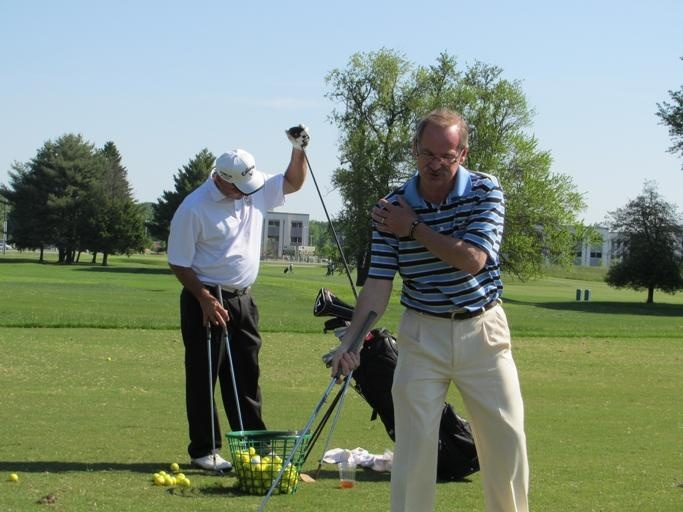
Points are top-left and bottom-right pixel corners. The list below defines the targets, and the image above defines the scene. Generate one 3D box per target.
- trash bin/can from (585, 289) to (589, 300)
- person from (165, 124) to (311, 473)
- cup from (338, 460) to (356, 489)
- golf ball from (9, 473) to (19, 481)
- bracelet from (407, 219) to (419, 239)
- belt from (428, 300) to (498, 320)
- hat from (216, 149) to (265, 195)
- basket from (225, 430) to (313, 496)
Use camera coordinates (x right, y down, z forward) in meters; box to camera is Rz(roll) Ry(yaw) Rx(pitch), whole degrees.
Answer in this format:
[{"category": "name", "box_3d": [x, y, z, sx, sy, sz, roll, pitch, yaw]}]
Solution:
[{"category": "trash bin/can", "box_3d": [12.506, 1.967, 38.163, 0.216, 0.410, 0.441, 0, -2, 8]}, {"category": "person", "box_3d": [-1.172, 0.301, 7.310, 1.099, 3.512, 1.447, 1, -1, -45]}, {"category": "cup", "box_3d": [0.038, 1.778, 6.132, 0.157, 0.201, 0.168, 0, -3, 0]}, {"category": "golf ball", "box_3d": [-2.617, 1.758, 5.994, 0.043, 0.059, 0.047, 1, 3, 0]}, {"category": "bracelet", "box_3d": [0.484, -0.188, 5.001, 0.073, 0.109, 0.049, 3, -1, 7]}, {"category": "belt", "box_3d": [0.845, 0.359, 5.095, 0.505, 0.119, 0.159, 5, -2, -20]}, {"category": "hat", "box_3d": [-0.930, -0.849, 6.881, 0.471, 0.357, 0.283, 35, -23, 10]}, {"category": "basket", "box_3d": [-0.562, 1.645, 6.409, 0.784, 0.507, 0.676, 1, -1, 9]}]
